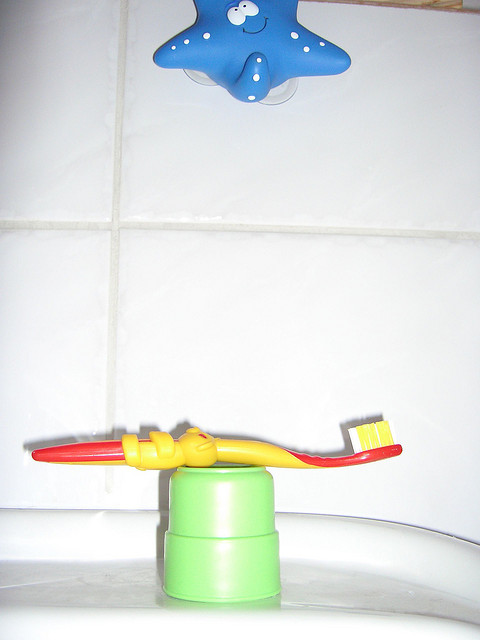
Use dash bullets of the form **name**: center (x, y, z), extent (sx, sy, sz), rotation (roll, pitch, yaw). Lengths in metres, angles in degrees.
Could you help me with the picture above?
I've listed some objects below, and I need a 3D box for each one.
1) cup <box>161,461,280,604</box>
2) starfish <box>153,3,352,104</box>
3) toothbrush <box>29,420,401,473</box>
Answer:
- **cup**: center (-0.016, 0.202, 0.630), extent (0.125, 0.105, 0.111), rotation (2, -12, -14)
- **starfish**: center (0.019, -0.372, 0.900), extent (0.263, 0.133, 0.075), rotation (1, -7, -11)
- **toothbrush**: center (-0.045, 0.143, 0.747), extent (0.369, 0.056, 0.072), rotation (4, -17, -16)
